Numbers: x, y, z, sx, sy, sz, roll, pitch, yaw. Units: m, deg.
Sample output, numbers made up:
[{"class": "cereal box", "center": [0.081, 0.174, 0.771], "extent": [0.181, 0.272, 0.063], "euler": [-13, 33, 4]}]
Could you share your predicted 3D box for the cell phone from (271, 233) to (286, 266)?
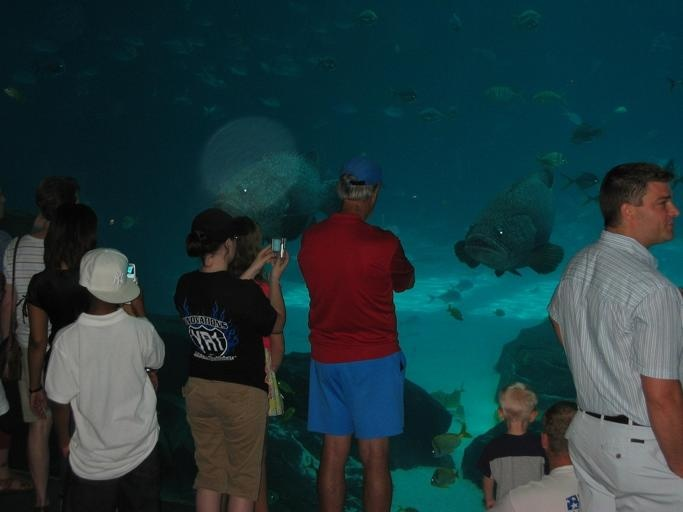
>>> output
[{"class": "cell phone", "center": [-0.544, -0.074, 5.364], "extent": [0.183, 0.222, 0.155], "euler": [0, -2, 4]}]
